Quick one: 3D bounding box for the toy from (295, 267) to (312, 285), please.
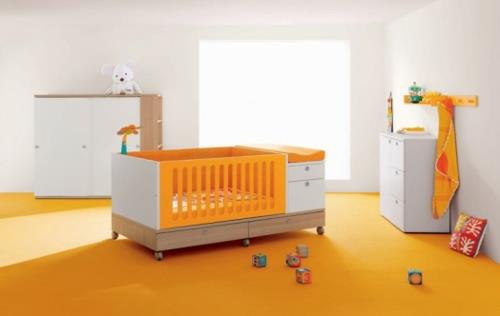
[{"bbox_3d":[0.519,1.121,3.547,0.135,0.135,0.134,3,-3,-37],"label":"toy"}]

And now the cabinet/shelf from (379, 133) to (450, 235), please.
[{"bbox_3d":[2.147,0.334,4.747,0.627,1.151,1.240,-2,2,-3],"label":"cabinet/shelf"}]

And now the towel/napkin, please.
[{"bbox_3d":[2.469,0.015,4.628,0.291,1.497,0.278,4,10,24],"label":"towel/napkin"}]

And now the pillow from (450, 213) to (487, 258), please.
[{"bbox_3d":[2.504,0.862,4.239,0.143,0.570,0.588,21,-22,-2],"label":"pillow"}]

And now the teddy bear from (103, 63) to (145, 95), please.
[{"bbox_3d":[-2.196,-1.337,6.392,0.637,0.605,0.288,-9,26,-16],"label":"teddy bear"}]

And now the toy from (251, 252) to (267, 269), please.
[{"bbox_3d":[0.100,1.089,3.908,0.134,0.130,0.132,10,-12,-42],"label":"toy"}]

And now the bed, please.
[{"bbox_3d":[-0.381,0.456,4.564,2.522,1.099,0.856,-4,10,-22],"label":"bed"}]

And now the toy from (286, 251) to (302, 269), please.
[{"bbox_3d":[0.435,1.064,3.889,0.194,0.131,0.121,6,11,33],"label":"toy"}]

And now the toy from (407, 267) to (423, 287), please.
[{"bbox_3d":[1.558,1.125,3.491,0.136,0.136,0.135,-2,0,11],"label":"toy"}]

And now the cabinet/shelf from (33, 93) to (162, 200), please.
[{"bbox_3d":[-2.435,-0.234,5.810,1.749,1.472,0.560,0,0,-2],"label":"cabinet/shelf"}]

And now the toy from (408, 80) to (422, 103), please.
[{"bbox_3d":[2.425,-0.986,5.451,0.246,0.257,0.244,-9,9,-28],"label":"toy"}]
